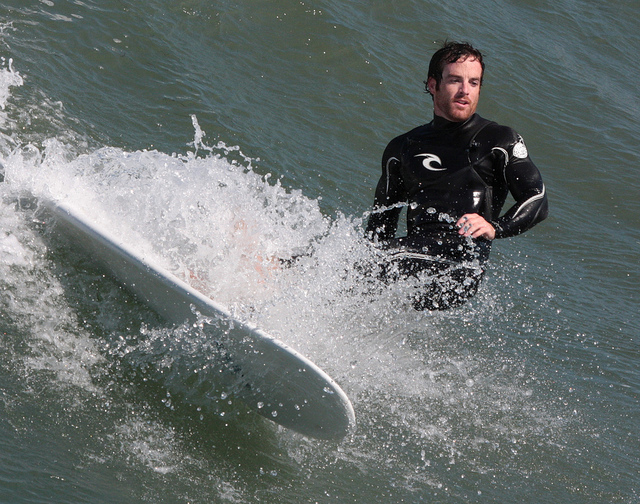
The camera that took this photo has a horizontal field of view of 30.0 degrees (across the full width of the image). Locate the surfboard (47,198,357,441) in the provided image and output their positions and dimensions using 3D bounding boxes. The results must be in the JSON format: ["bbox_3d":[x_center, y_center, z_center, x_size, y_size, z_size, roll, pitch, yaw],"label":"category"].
[{"bbox_3d":[-0.956,0.674,10.487,3.244,0.589,0.343,38,27,26],"label":"surfboard"}]

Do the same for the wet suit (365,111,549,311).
[{"bbox_3d":[1.104,-0.329,10.593,1.451,1.760,0.800,33,31,25],"label":"wet suit"}]
